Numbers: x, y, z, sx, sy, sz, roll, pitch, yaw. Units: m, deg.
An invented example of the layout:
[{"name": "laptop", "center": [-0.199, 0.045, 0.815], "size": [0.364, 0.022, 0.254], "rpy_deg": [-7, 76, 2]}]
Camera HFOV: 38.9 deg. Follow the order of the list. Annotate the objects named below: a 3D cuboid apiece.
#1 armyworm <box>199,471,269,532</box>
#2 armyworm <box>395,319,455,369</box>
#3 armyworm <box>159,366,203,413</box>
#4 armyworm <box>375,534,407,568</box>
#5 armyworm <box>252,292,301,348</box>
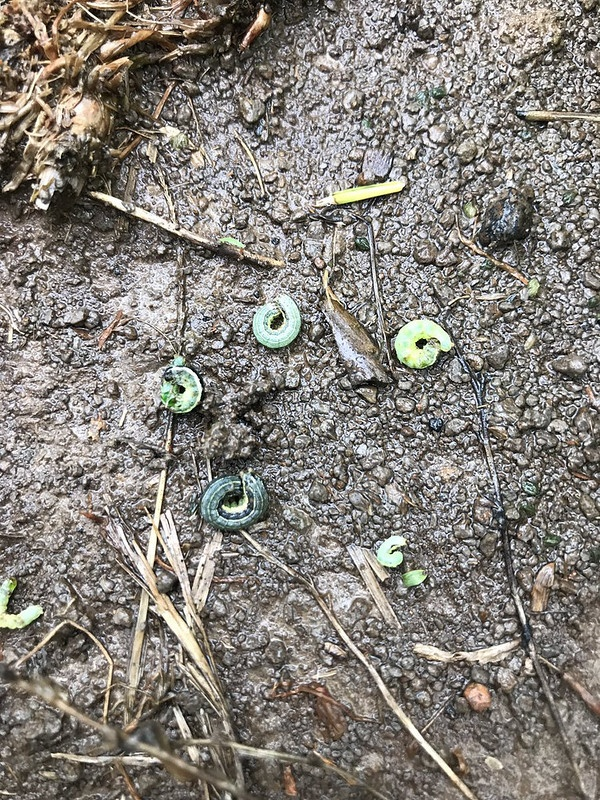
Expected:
[{"name": "armyworm", "center": [-0.266, 0.417, 3.481], "size": [0.265, 0.108, 0.225], "rpy_deg": [-21, 93, 5]}, {"name": "armyworm", "center": [0.487, -0.232, 3.459], "size": [0.208, 0.103, 0.178], "rpy_deg": [-35, 71, -8]}, {"name": "armyworm", "center": [-0.477, -0.041, 3.438], "size": [0.167, 0.064, 0.183], "rpy_deg": [-4, 89, 12]}, {"name": "armyworm", "center": [0.369, 0.620, 3.470], "size": [0.113, 0.078, 0.131], "rpy_deg": [10, 72, 8]}, {"name": "armyworm", "center": [-0.101, -0.351, 3.472], "size": [0.257, 0.231, 0.071], "rpy_deg": [-20, 66, -33]}]
